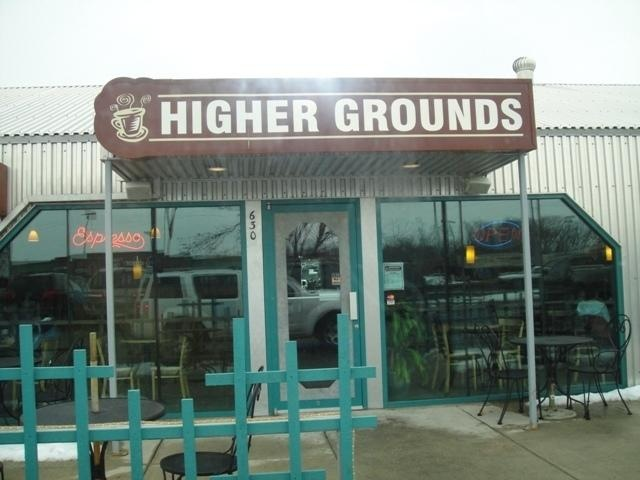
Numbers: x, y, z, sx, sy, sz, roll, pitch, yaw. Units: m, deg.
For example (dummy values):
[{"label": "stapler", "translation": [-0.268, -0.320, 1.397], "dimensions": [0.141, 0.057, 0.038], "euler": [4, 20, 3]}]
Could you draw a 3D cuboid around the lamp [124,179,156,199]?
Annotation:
[{"label": "lamp", "translation": [-2.773, -0.756, 11.725], "dimensions": [0.389, 0.299, 0.247], "euler": [2, 13, -5]}]

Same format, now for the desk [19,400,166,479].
[{"label": "desk", "translation": [-2.729, 2.261, 9.317], "dimensions": [1.047, 0.734, 1.099], "euler": [1, -11, 0]}]

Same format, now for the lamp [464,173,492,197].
[{"label": "lamp", "translation": [2.480, -0.862, 12.151], "dimensions": [0.321, 0.243, 0.340], "euler": [0, -3, -1]}]

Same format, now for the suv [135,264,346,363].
[{"label": "suv", "translation": [-1.344, 1.131, 12.293], "dimensions": [2.593, 1.186, 1.397], "euler": [-2, -3, -6]}]
